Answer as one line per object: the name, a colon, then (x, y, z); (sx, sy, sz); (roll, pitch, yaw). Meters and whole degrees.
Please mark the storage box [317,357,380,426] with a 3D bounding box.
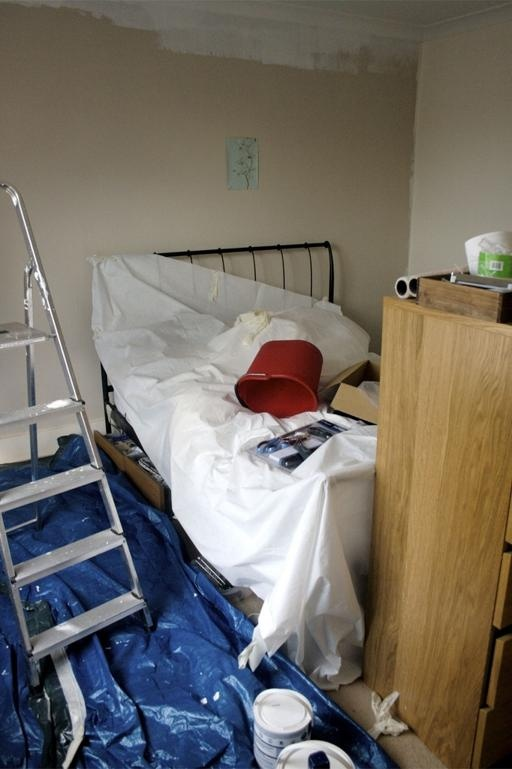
storage box: (0.381, 0.020, 2.128); (0.177, 0.097, 0.309); (20, 21, 37)
